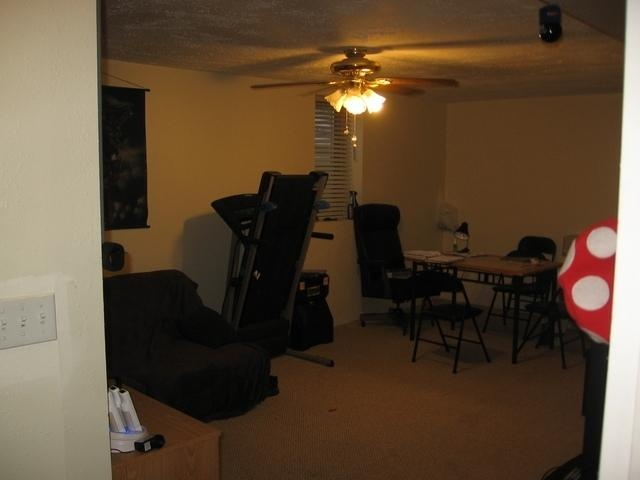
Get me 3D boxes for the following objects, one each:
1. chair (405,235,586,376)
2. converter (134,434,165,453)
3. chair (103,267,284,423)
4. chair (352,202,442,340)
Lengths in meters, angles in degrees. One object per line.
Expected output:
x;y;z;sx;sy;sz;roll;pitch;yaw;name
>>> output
1.631;0.586;5.323;1.429;1.205;1.217;9;10;44;chair
-0.688;0.832;2.235;0.053;0.037;0.084;7;14;26;converter
-1.028;0.794;4.118;1.136;1.018;1.263;0;7;-36;chair
0.836;0.273;5.980;0.849;1.328;0.872;1;4;27;chair
